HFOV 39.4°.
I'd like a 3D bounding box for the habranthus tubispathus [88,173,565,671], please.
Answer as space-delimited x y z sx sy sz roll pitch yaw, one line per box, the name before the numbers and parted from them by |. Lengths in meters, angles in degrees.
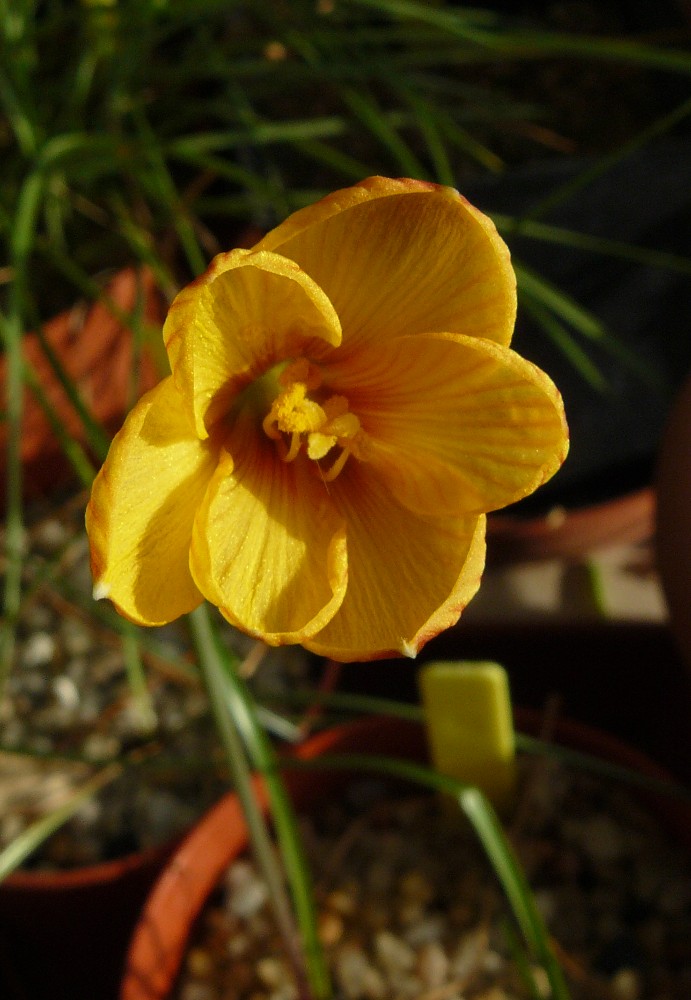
habranthus tubispathus | -0.042 -0.034 0.501 0.152 0.231 0.230 16 84 51
